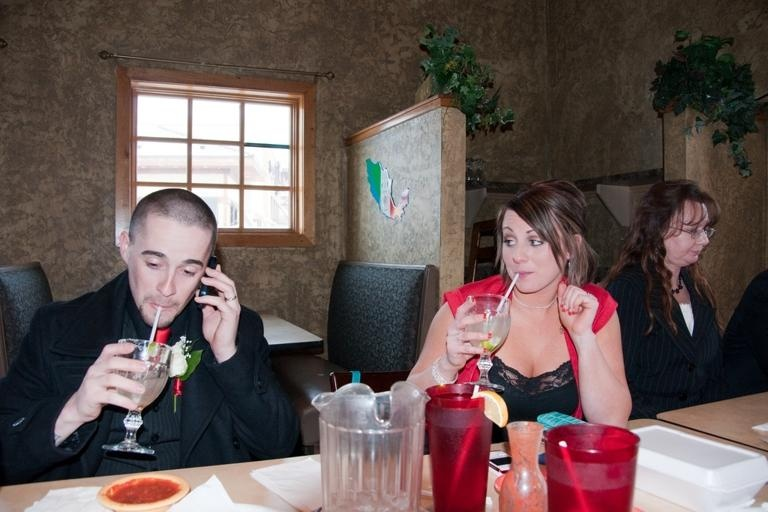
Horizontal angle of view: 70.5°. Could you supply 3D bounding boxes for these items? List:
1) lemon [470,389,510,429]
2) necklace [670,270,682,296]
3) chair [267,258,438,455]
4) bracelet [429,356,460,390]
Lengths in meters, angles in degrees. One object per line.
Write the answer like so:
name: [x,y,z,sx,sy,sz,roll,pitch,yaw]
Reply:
lemon: [0.307,0.440,1.562,0.097,0.101,0.107,1,3,18]
necklace: [1.659,0.161,3.112,0.041,0.114,0.085,2,20,3]
chair: [-0.393,0.759,4.212,0.983,1.348,1.901,0,-2,-24]
bracelet: [0.228,0.480,2.198,0.105,0.121,0.048,-1,8,27]
